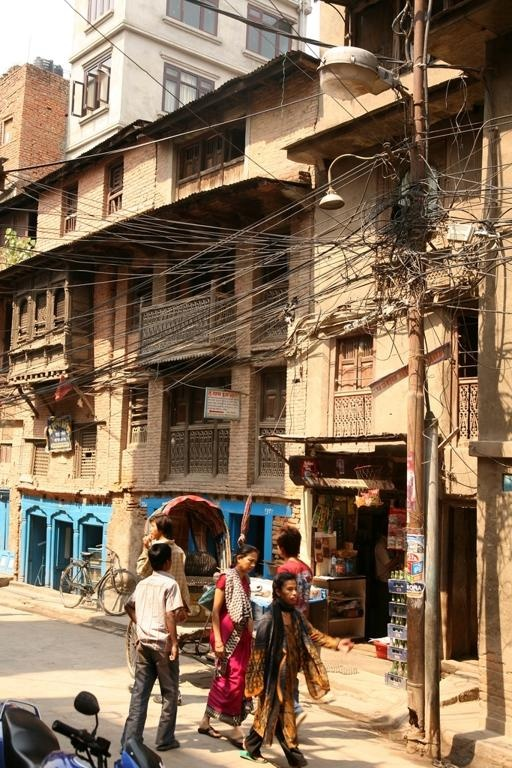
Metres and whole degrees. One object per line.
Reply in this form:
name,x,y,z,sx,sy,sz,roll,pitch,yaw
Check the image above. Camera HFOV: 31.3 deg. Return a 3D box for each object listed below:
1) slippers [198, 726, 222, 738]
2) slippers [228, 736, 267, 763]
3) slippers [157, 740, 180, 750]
slippers,-0.408,3.133,8.225,0.193,0.067,0.089,1,0,27
slippers,-0.085,3.083,7.675,0.153,0.108,0.416,14,-19,-29
slippers,-0.744,3.067,7.762,0.213,0.088,0.078,0,2,-41
